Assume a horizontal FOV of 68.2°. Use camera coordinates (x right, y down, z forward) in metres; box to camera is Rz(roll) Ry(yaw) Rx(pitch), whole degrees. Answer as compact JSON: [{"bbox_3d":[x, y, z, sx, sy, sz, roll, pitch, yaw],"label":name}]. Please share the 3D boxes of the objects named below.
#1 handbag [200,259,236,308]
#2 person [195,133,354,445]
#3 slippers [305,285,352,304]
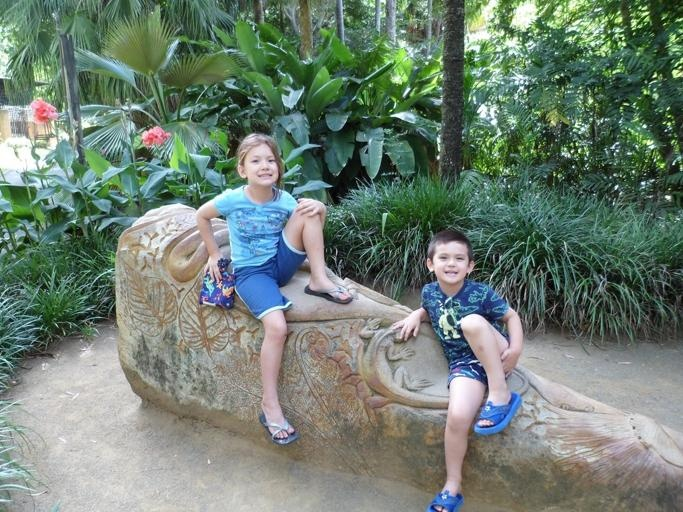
[{"bbox_3d":[-0.788,0.185,3.259,0.259,0.398,0.078,2,-5,22],"label":"handbag"},{"bbox_3d":[-0.415,0.189,3.268,0.644,1.877,0.868,-13,20,-39],"label":"person"},{"bbox_3d":[-0.069,0.210,3.154,0.211,0.064,0.124,8,22,18],"label":"slippers"}]
